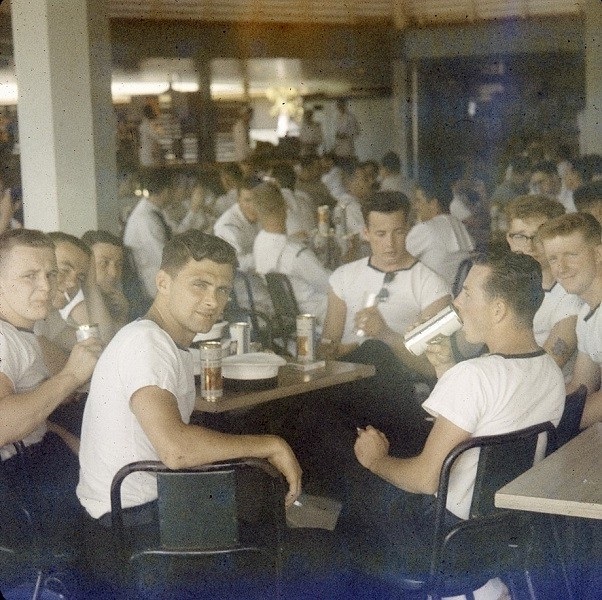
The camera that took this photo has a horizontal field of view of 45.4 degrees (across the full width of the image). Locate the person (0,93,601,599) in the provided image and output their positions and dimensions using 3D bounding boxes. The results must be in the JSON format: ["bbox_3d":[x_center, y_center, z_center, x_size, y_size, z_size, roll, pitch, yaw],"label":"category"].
[{"bbox_3d":[-0.041,0.270,2.410,0.413,1.067,1.688,8,-21,-43],"label":"person"}]

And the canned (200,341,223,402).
[{"bbox_3d":[-0.292,0.226,2.298,0.077,0.172,0.078,-3,-3,35],"label":"canned"}]

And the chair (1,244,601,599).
[{"bbox_3d":[-0.115,0.240,2.240,1.192,0.739,1.013,7,12,43],"label":"chair"}]

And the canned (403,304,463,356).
[{"bbox_3d":[0.492,0.115,2.654,0.216,0.086,0.092,-33,-47,24],"label":"canned"}]

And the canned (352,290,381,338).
[{"bbox_3d":[0.258,0.041,2.859,0.059,0.207,0.055,25,21,22],"label":"canned"}]
